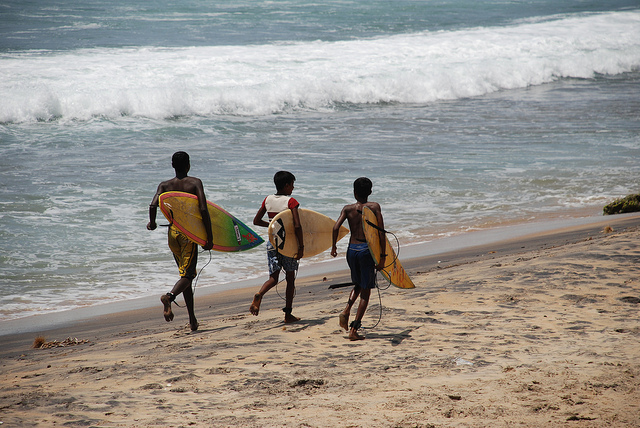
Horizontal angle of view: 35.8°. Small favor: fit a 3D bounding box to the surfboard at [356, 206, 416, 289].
[{"bbox_3d":[1.565,0.923,24.619,1.966,1.747,0.533,22,59,45],"label":"surfboard"}]
